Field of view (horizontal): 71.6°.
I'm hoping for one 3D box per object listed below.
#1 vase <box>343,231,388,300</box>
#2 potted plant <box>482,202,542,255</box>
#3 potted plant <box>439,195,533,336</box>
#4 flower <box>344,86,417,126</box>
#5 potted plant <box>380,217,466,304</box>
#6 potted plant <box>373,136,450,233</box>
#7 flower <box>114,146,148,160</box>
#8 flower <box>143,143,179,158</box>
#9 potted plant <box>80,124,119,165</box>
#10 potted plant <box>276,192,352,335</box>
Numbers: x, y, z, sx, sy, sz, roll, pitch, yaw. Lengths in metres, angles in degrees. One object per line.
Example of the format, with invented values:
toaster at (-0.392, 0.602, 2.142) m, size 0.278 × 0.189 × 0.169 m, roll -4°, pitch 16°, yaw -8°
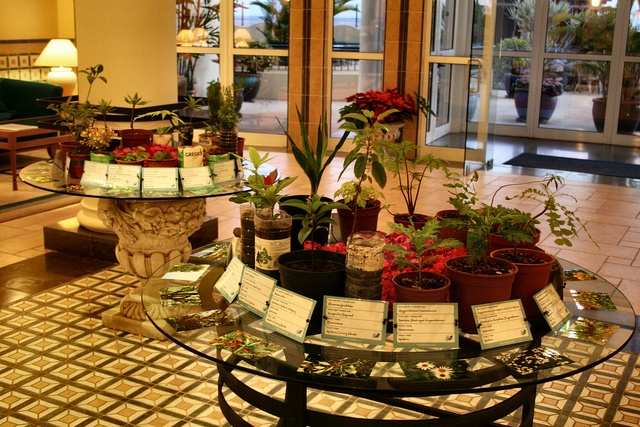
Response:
vase at (0.147, 0.188, 1.503) m, size 0.127 × 0.201 × 0.108 m, roll 0°, pitch 16°, yaw 5°
potted plant at (0.720, 0.053, 1.763) m, size 0.260 × 0.135 × 0.249 m, roll 12°, pitch 20°, yaw 35°
potted plant at (0.581, 0.176, 1.592) m, size 0.262 × 0.329 × 0.272 m, roll -9°, pitch 10°, yaw -29°
flower at (0.462, -0.849, 3.703) m, size 0.651 × 0.199 × 0.535 m, roll -1°, pitch -2°, yaw 12°
potted plant at (0.309, 0.167, 1.667) m, size 0.374 × 0.233 × 0.304 m, roll 2°, pitch 16°, yaw 0°
potted plant at (0.453, -0.164, 2.325) m, size 0.541 × 0.348 × 0.317 m, roll -6°, pitch -3°, yaw -12°
flower at (-1.288, -0.424, 3.003) m, size 0.162 × 0.041 × 0.148 m, roll -6°, pitch 14°, yaw -27°
flower at (-1.107, -0.433, 3.046) m, size 0.167 × 0.042 × 0.152 m, roll 1°, pitch 14°, yaw -7°
potted plant at (-1.612, -0.465, 3.160) m, size 0.312 × 0.247 × 0.268 m, roll -6°, pitch 27°, yaw -36°
potted plant at (-0.021, 0.175, 1.619) m, size 0.342 × 0.403 × 0.279 m, roll 3°, pitch 7°, yaw 0°
